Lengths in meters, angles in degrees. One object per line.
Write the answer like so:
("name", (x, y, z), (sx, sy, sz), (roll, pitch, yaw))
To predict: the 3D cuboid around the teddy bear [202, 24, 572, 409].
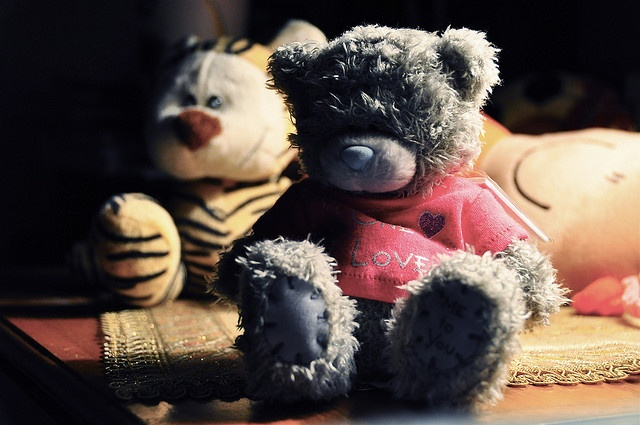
("teddy bear", (0.020, 0.052, 1.804), (1.008, 0.898, 0.699), (0, 3, 10))
